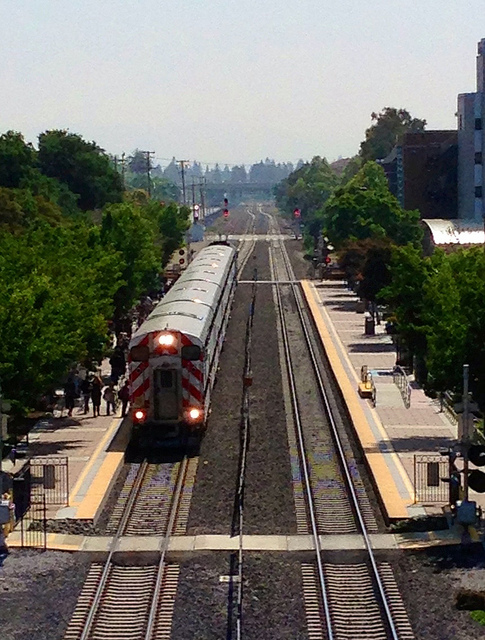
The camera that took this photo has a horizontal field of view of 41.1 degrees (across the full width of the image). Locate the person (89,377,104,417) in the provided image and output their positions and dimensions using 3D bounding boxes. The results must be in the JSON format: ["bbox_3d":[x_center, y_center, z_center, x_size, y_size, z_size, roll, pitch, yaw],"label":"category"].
[{"bbox_3d":[-6.121,3.114,27.037,0.508,1.600,1.348,-3,4,-13],"label":"person"}]

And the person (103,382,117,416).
[{"bbox_3d":[-5.513,3.254,26.749,0.387,1.331,0.595,-2,4,-11],"label":"person"}]

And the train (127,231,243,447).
[{"bbox_3d":[-2.086,-0.725,29.865,2.918,4.214,17.440,-3,19,7],"label":"train"}]
